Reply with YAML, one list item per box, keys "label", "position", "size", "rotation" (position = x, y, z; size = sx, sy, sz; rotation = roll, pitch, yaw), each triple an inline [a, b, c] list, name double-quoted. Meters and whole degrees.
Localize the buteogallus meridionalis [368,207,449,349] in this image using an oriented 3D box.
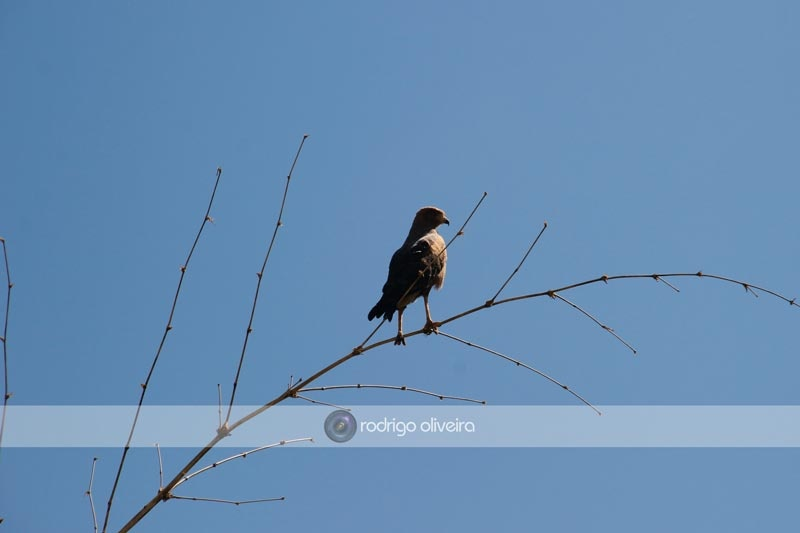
- label: "buteogallus meridionalis"
  position: [0.086, 0.018, 10.902]
  size: [0.403, 1.072, 0.629]
  rotation: [-20, -26, 39]
